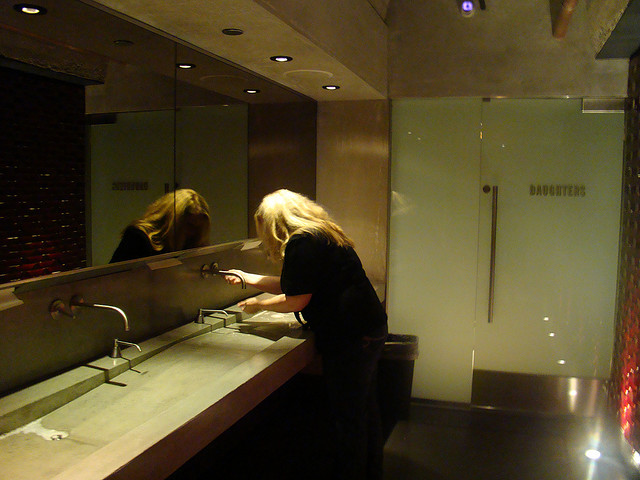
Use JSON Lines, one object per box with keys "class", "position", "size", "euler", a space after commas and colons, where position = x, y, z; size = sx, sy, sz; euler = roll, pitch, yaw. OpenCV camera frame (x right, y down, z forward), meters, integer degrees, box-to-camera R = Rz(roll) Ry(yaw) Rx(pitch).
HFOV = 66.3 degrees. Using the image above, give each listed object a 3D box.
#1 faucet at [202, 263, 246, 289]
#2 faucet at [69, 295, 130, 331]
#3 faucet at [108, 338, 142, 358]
{"class": "faucet", "position": [-0.476, 0.170, 2.530], "size": [0.266, 0.088, 0.114], "euler": [12, 11, 28]}
{"class": "faucet", "position": [-0.825, 0.273, 1.840], "size": [0.234, 0.102, 0.068], "euler": [4, 10, 15]}
{"class": "faucet", "position": [-0.769, 0.427, 1.967], "size": [0.154, 0.083, 0.061], "euler": [3, 2, 25]}
